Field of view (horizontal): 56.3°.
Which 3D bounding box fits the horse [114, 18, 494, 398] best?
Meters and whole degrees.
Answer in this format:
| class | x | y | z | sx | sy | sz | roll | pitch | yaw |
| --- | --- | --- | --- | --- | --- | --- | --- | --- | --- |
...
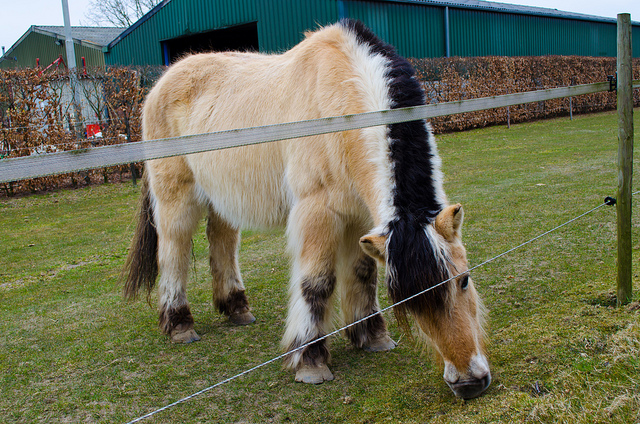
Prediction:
| class | x | y | z | sx | sy | sz | roll | pitch | yaw |
| --- | --- | --- | --- | --- | --- | --- | --- | --- | --- |
| horse | -0.418 | -0.201 | 7.061 | 4.897 | 4.184 | 1.610 | 9 | 11 | 33 |
